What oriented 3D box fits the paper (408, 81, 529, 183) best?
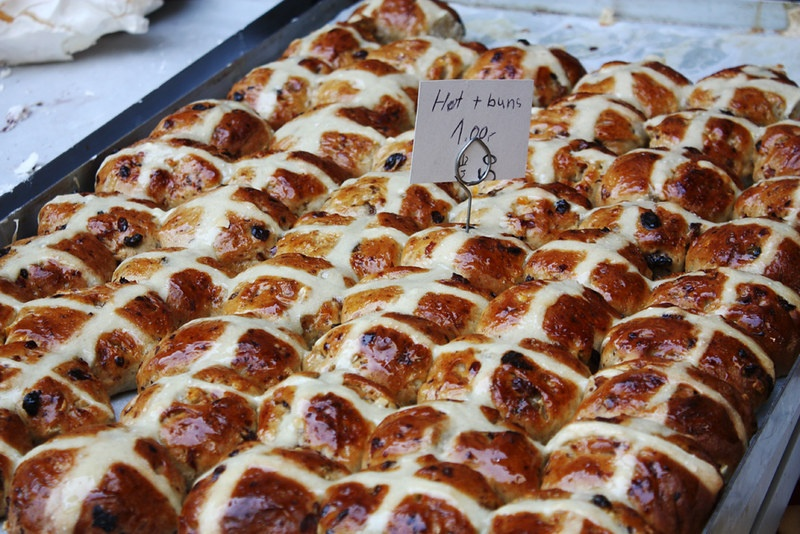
[{"bbox_3d":[0.351,-0.617,3.584,0.013,0.469,0.650,-4,10,-39],"label":"paper"}]
